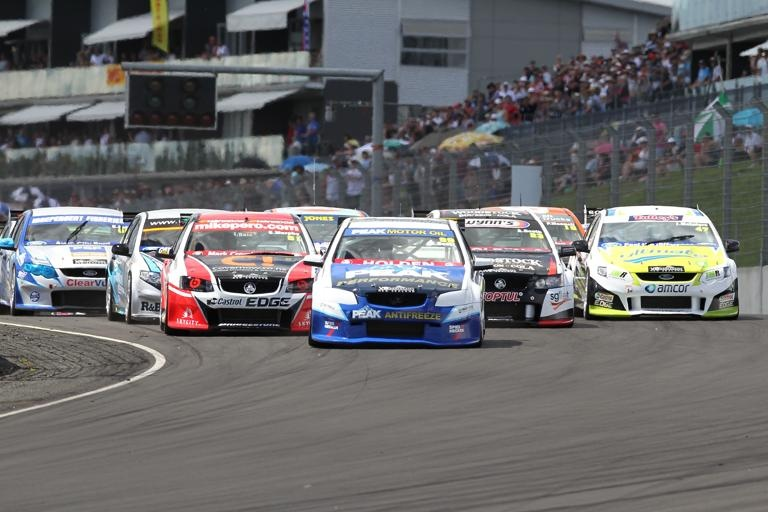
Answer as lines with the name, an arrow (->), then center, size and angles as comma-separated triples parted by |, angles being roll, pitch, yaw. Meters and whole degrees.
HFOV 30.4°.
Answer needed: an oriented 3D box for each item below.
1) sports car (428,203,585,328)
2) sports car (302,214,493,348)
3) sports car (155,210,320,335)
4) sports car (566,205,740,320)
sports car -> 1.706, 0.211, 19.965 | 2.321, 1.483, 4.237 | 0, 0, -1
sports car -> 0.185, 0.104, 18.979 | 2.412, 1.205, 3.589 | 2, 14, 0
sports car -> -1.991, -0.036, 20.269 | 2.165, 1.144, 3.457 | 1, 16, -7
sports car -> 4.341, -0.150, 23.053 | 2.544, 1.392, 3.935 | -1, 13, 2
